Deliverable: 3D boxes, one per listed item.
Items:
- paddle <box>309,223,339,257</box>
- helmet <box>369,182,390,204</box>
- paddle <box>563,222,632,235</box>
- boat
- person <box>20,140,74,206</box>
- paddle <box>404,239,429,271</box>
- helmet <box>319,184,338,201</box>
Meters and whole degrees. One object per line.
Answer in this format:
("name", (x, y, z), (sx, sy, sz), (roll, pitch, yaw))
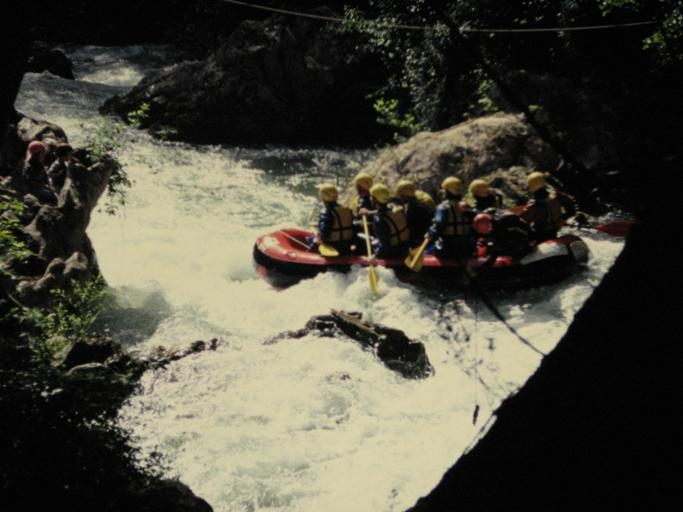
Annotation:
("paddle", (-0.383, -0.219, 12.710), (0.815, 0.244, 0.096), (41, 17, 33))
("helmet", (0.639, -1.068, 12.254), (0.349, 0.272, 0.300), (41, 49, 21))
("paddle", (4.430, -0.479, 12.537), (1.017, 0.174, 0.294), (-4, 36, 34))
("boat", (1.372, 0.140, 12.196), (4.302, 0.725, 1.965), (2, 10, 16))
("person", (-4.595, -1.321, 11.290), (0.649, 0.555, 0.917), (6, 49, -5))
("paddle", (1.216, -0.010, 11.962), (0.296, 0.504, 0.395), (18, 50, 5))
("helmet", (-0.230, -1.125, 12.493), (0.247, 0.253, 0.327), (7, 41, 0))
